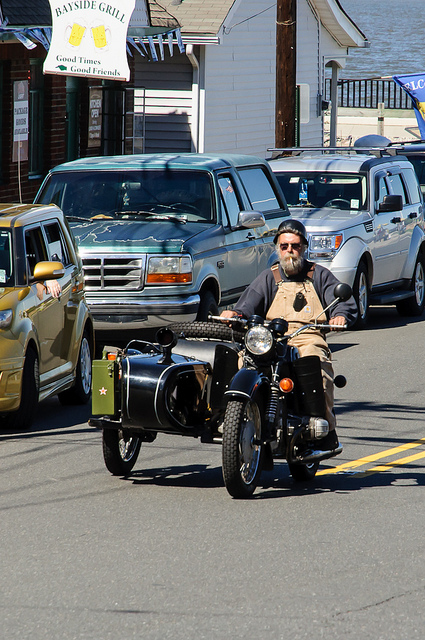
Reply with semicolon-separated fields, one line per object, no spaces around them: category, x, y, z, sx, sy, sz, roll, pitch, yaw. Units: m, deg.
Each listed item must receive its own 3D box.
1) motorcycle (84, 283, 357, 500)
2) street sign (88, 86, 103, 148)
motorcycle;0.387;0.493;5.257;1.777;1.385;2.324;-1;-4;40
street sign;-3.515;-6.124;20.078;0.327;1.772;0.825;1;8;8
